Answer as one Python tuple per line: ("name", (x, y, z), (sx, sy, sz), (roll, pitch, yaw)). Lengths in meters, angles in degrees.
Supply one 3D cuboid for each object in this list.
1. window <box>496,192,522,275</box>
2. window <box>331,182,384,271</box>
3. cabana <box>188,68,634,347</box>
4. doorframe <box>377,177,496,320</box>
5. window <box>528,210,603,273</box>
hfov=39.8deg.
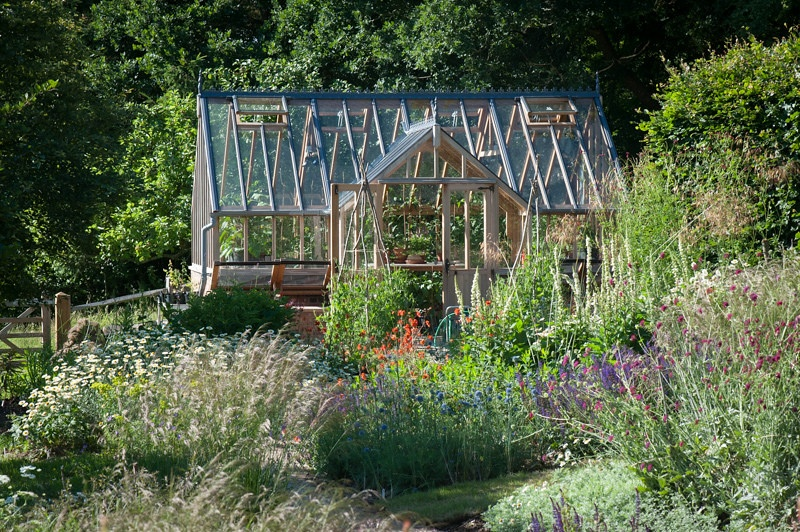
("window", (2.113, -0.671, 23.051), (0.863, 1.538, 0.935), (-2, 3, 14))
("window", (-0.853, -0.748, 20.547), (0.694, 1.628, 1.076), (-12, -1, -18))
("cabana", (0.267, -0.531, 25.303), (9.660, 6.871, 8.185), (1, 19, 6))
("doorframe", (0.811, -0.353, 20.849), (1.938, 2.925, 0.339), (2, 30, 7))
("window", (3.175, -0.429, 20.954), (1.348, 1.686, 1.376), (2, -2, 6))
